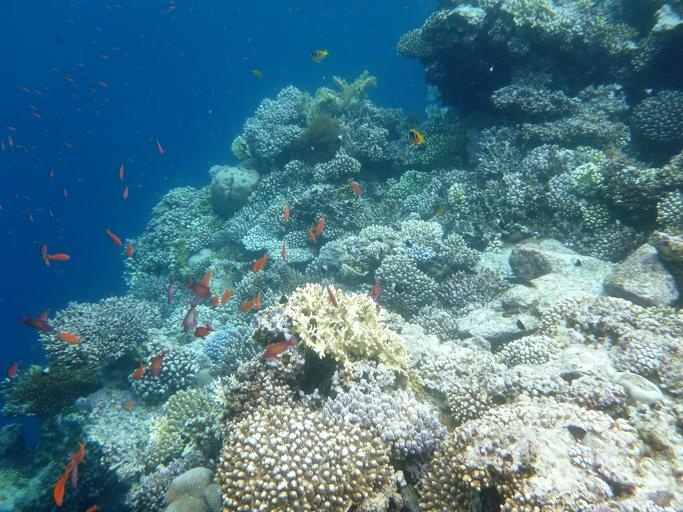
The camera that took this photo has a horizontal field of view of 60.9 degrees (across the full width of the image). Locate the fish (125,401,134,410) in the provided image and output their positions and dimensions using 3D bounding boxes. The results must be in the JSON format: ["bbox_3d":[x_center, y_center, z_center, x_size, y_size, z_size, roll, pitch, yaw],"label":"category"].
[{"bbox_3d":[-5.486,3.904,15.125,0.083,0.318,0.281,-5,67,-40],"label":"fish"}]
